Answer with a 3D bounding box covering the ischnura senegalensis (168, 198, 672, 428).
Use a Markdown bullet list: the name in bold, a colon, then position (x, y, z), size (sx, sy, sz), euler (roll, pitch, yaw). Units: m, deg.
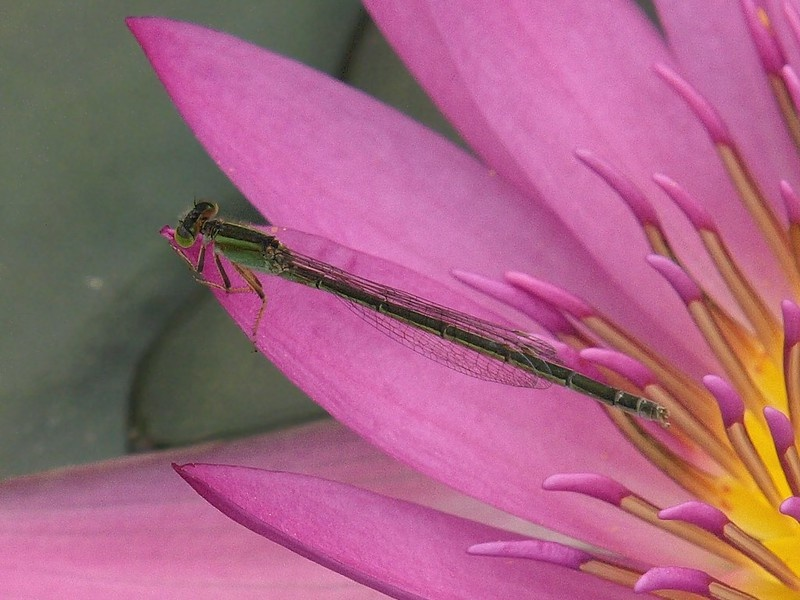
- **ischnura senegalensis**: position (-0.008, 0.050, 1.164), size (0.731, 0.152, 0.189), euler (22, 14, 8)
